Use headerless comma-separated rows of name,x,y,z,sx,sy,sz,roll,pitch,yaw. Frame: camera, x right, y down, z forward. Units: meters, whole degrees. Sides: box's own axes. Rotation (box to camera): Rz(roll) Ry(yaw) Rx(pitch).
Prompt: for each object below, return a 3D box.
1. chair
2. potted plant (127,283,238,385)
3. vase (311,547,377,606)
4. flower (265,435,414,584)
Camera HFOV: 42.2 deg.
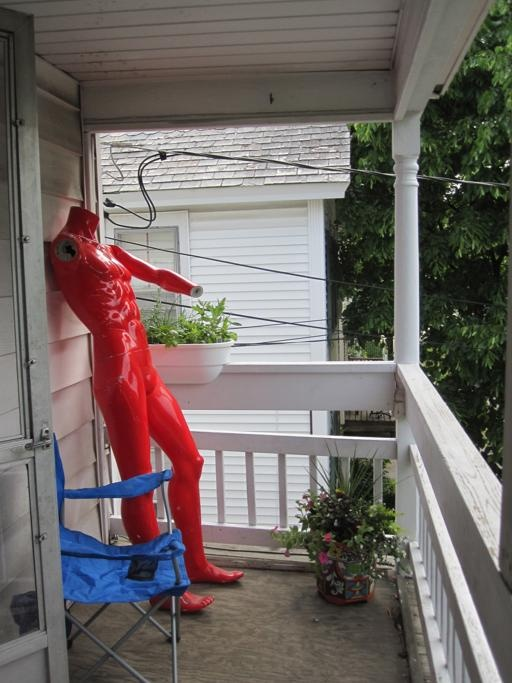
chair,-0.503,0.811,2.458,0.593,0.875,0.715,4,16,-8
potted plant,-0.341,-0.009,3.528,0.455,0.368,0.503,0,13,-1
vase,0.383,0.982,2.906,0.245,0.236,0.235,0,1,23
flower,0.415,0.805,2.985,0.416,0.473,0.516,-2,-5,-18
